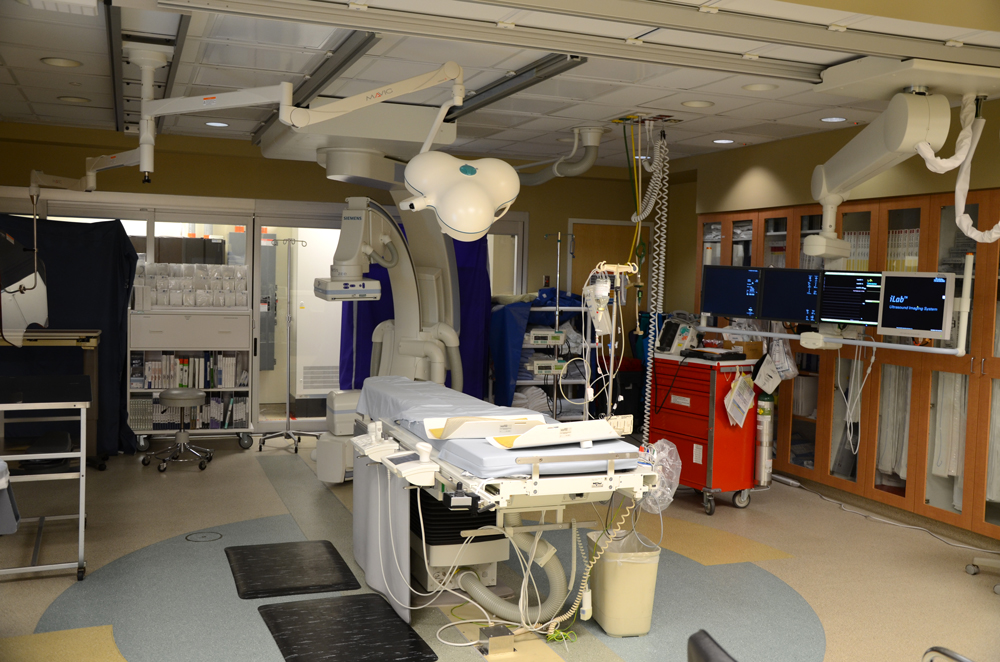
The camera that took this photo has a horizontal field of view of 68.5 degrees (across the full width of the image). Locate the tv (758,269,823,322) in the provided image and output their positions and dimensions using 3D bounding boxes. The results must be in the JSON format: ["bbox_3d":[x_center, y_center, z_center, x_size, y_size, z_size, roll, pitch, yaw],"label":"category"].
[{"bbox_3d":[2.906,-0.361,7.225,0.217,0.530,0.621,-4,6,-39],"label":"tv"}]

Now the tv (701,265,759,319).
[{"bbox_3d":[2.419,-0.417,7.663,0.076,0.521,0.692,-6,11,-36],"label":"tv"}]

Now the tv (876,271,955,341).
[{"bbox_3d":[3.577,-0.226,6.284,0.081,0.547,0.602,-1,3,-44],"label":"tv"}]

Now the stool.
[{"bbox_3d":[-3.593,1.039,8.260,0.929,0.931,0.845,2,2,-30],"label":"stool"}]

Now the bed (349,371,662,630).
[{"bbox_3d":[0.057,0.960,4.949,1.509,1.121,2.379,1,3,-23],"label":"bed"}]

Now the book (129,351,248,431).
[{"bbox_3d":[-3.686,0.688,8.518,0.963,0.620,0.322,-1,8,-22],"label":"book"}]

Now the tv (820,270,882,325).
[{"bbox_3d":[3.227,-0.318,6.775,0.647,0.508,0.054,1,2,-14],"label":"tv"}]

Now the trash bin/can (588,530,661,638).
[{"bbox_3d":[0.827,1.722,5.114,0.512,0.677,0.705,0,1,-10],"label":"trash bin/can"}]
